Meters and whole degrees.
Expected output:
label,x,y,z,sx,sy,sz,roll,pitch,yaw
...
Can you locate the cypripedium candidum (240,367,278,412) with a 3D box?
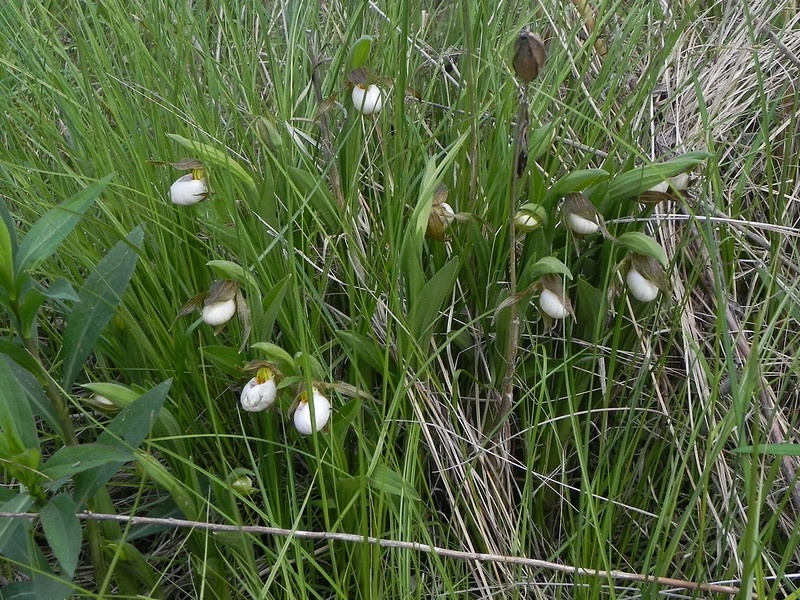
label,x,y,z,sx,sy,sz,roll,pitch,yaw
cypripedium candidum,-0.378,0.244,1.834,0.099,0.057,0.098,-17,60,-10
